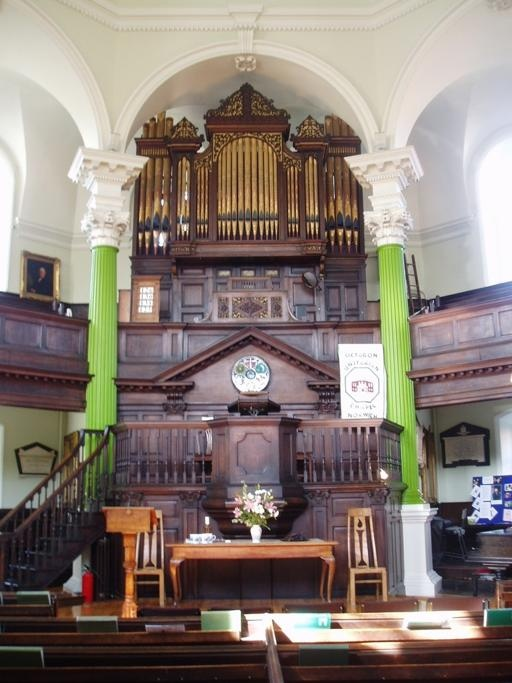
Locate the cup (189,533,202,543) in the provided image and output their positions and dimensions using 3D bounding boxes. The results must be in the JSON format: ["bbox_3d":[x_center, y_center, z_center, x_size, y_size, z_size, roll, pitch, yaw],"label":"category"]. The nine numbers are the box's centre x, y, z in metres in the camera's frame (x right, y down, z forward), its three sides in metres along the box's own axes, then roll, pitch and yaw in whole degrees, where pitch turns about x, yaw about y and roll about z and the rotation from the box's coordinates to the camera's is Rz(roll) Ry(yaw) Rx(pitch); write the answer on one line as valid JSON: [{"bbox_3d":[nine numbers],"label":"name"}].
[{"bbox_3d":[-0.680,2.205,6.918,0.133,0.102,0.135,0,-9,0],"label":"cup"}]

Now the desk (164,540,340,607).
[{"bbox_3d":[-0.032,2.568,6.825,1.752,0.685,0.624,0,-15,-1],"label":"desk"}]

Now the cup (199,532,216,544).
[{"bbox_3d":[-0.530,2.217,6.955,0.209,0.145,0.133,6,-15,-22],"label":"cup"}]

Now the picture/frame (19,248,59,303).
[{"bbox_3d":[-5.184,-1.576,14.791,0.331,1.200,1.119,-7,-10,34],"label":"picture/frame"}]
